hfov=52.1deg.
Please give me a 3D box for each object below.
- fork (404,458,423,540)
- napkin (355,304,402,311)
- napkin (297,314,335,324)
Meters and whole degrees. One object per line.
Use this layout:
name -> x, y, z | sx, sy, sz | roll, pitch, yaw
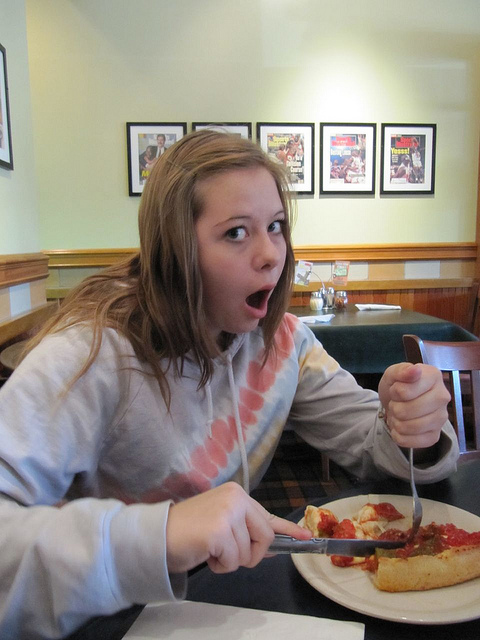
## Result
fork -> 0.256, 0.266, 0.726 | 0.013, 0.116, 0.017 | 0, -20, -7
napkin -> 0.891, -0.090, 3.173 | 0.264, 0.021, 0.240 | 0, 10, 5
napkin -> 0.411, -0.009, 2.605 | 0.100, 0.024, 0.101 | -2, 10, -12
